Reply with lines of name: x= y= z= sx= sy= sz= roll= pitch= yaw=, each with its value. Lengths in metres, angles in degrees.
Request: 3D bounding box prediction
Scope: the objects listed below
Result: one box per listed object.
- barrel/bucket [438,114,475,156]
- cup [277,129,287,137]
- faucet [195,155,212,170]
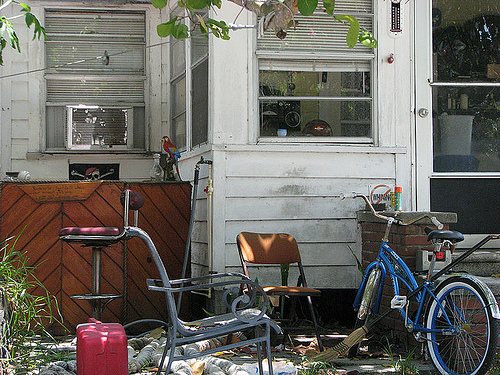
barrel/bucket: x=2.332 y=-0.564 z=9.787 sx=0.465 sy=0.646 sz=0.392 roll=0 pitch=0 yaw=4
cup: x=0.354 y=-0.617 z=9.424 sx=0.078 sy=0.068 sz=0.083 roll=0 pitch=1 yaw=0
faucet: x=-0.556 y=-0.280 z=9.406 sx=0.179 sy=0.174 sz=0.376 roll=-2 pitch=-3 yaw=-16
